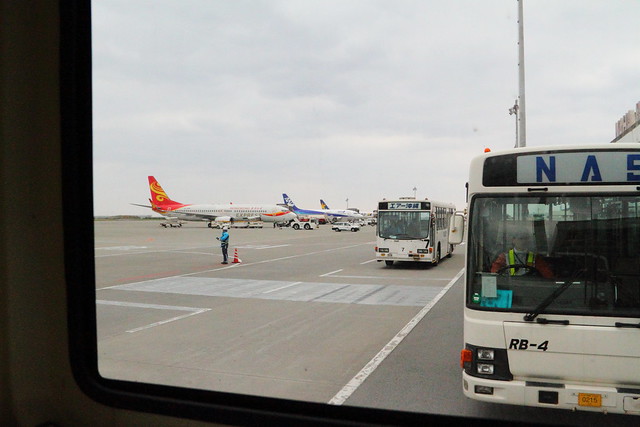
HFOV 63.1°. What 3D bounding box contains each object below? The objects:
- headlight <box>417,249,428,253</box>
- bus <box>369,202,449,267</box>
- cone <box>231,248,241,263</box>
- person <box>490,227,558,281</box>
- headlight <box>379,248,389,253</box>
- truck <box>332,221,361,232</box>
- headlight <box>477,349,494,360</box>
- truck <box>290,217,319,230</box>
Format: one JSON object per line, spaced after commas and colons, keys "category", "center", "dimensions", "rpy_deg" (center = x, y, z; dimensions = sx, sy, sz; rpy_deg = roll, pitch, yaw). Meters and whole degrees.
{"category": "headlight", "center": [4.123, 1.496, 20.938], "dimensions": [0.395, 0.132, 0.061], "rpy_deg": [0, 1, 4]}
{"category": "bus", "center": [4.062, 0.908, 22.452], "dimensions": [2.201, 2.804, 3.352], "rpy_deg": [0, 1, 24]}
{"category": "cone", "center": [-3.826, 1.966, 23.706], "dimensions": [0.572, 0.660, 0.556], "rpy_deg": [1, -6, -8]}
{"category": "person", "center": [2.420, 0.566, 6.294], "dimensions": [0.687, 0.804, 0.465], "rpy_deg": [-2, -20, 18]}
{"category": "headlight", "center": [2.674, 1.504, 21.491], "dimensions": [0.205, 0.201, 0.049], "rpy_deg": [2, 1, 19]}
{"category": "truck", "center": [3.532, 1.857, 71.271], "dimensions": [2.976, 1.159, 1.687], "rpy_deg": [-2, 1, 4]}
{"category": "headlight", "center": [1.888, 1.607, 5.949], "dimensions": [0.128, 0.126, 0.055], "rpy_deg": [5, 1, 26]}
{"category": "truck", "center": [-2.637, 1.457, 76.137], "dimensions": [2.791, 1.208, 1.877], "rpy_deg": [-1, -1, 9]}
